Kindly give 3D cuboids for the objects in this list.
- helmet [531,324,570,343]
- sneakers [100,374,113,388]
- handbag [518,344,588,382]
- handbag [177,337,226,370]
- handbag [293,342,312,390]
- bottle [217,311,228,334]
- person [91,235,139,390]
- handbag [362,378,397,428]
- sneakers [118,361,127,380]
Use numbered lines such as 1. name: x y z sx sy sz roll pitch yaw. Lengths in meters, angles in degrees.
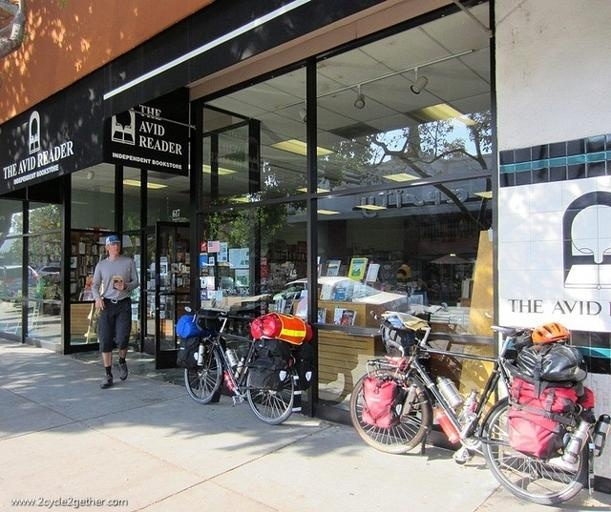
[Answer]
1. helmet: 1.846 0.586 3.680 0.241 0.158 0.128 0 1 -1
2. sneakers: -2.676 1.687 6.626 0.139 0.154 0.264 0 1 -16
3. handbag: 1.778 0.777 3.525 0.359 0.179 0.264 4 -4 21
4. handbag: -1.204 1.169 5.873 0.501 0.443 0.354 9 -11 -32
5. handbag: -0.008 1.150 5.092 0.170 0.476 0.156 0 1 -1
6. bottle: -0.968 0.805 5.893 0.061 0.231 0.167 10 0 -39
7. person: -2.639 0.750 6.826 0.596 2.059 0.623 0 1 -21
8. handbag: 0.681 1.330 4.440 0.406 0.486 0.251 -7 -17 41
9. sneakers: -2.613 1.639 7.004 0.105 0.310 0.133 -4 -2 -43
